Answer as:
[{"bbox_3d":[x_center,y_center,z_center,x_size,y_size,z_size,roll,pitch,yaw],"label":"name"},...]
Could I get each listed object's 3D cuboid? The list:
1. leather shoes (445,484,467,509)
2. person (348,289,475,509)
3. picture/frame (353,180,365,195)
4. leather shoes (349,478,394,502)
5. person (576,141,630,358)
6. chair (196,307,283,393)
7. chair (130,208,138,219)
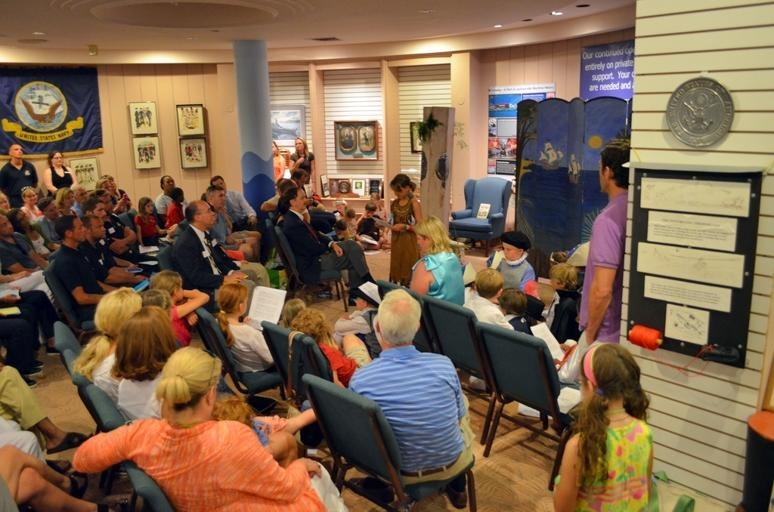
[{"bbox_3d":[0.501,1.795,3.870,0.083,0.093,0.226,-1,6,-17],"label":"leather shoes"},{"bbox_3d":[0.148,0.849,3.309,0.757,1.165,0.454,2,14,10],"label":"person"},{"bbox_3d":[-0.697,-1.656,12.646,0.338,0.493,0.036,1,4,6],"label":"picture/frame"},{"bbox_3d":[-0.091,1.667,3.753,0.219,0.114,0.299,-4,2,-38],"label":"leather shoes"},{"bbox_3d":[1.723,-0.085,4.054,0.278,1.605,0.420,4,14,21],"label":"person"},{"bbox_3d":[-1.228,0.800,4.330,0.496,0.749,0.508,-18,29,-33],"label":"chair"},{"bbox_3d":[-4.067,-0.674,8.264,0.137,0.143,0.142,6,12,27],"label":"chair"}]
